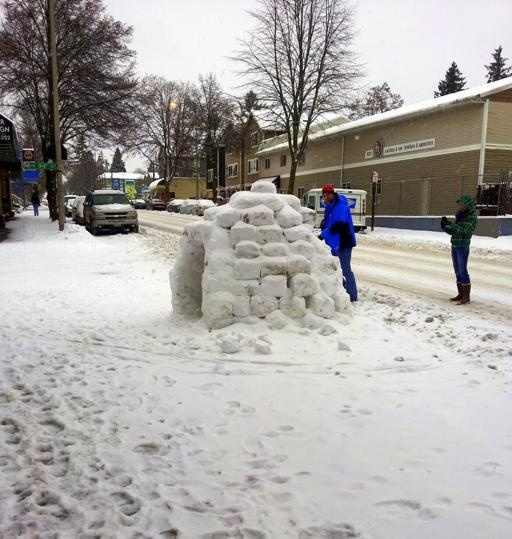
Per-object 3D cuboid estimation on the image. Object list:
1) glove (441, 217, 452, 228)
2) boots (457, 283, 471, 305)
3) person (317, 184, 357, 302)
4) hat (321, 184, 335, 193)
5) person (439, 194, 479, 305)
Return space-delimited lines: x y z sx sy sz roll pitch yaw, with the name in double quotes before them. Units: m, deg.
"glove" 3.357 -0.869 7.431 0.171 0.221 0.090 19 -15 -11
"boots" 3.551 0.428 7.180 0.197 0.321 0.287 3 10 25
"person" 1.397 -0.431 7.110 0.667 1.999 0.806 1 9 12
"hat" 1.196 -1.389 7.038 0.178 0.136 0.184 8 7 44
"person" 3.619 -0.394 7.548 0.514 1.847 1.255 4 10 27
